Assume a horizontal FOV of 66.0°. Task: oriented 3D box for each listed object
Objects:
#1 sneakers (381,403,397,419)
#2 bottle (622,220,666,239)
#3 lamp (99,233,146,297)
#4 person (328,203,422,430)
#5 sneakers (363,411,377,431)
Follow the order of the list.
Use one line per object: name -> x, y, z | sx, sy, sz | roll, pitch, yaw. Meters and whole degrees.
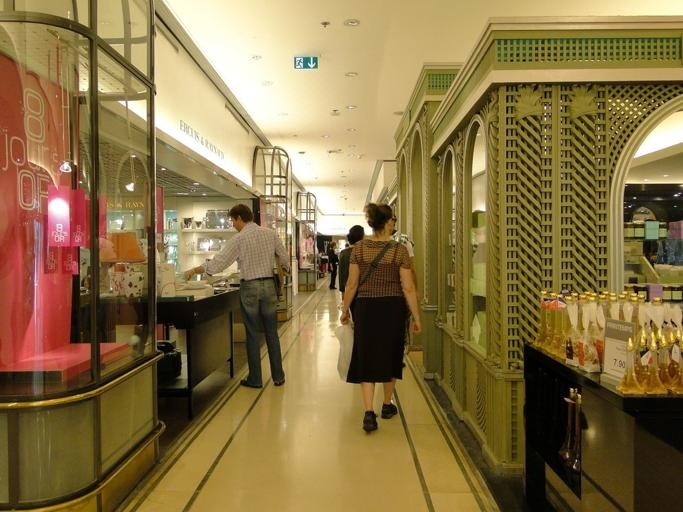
sneakers -> 0.417, 1.381, 4.681 | 0.077, 0.112, 0.177 | 0, 4, 14
bottle -> 2.224, -0.190, 3.815 | 0.430, 0.140, 0.094 | -2, 3, -30
lamp -> -1.466, 0.062, 3.666 | 0.292, 0.418, 0.299 | -9, 0, 22
person -> 0.336, 0.503, 4.531 | 0.669, 1.915, 0.521 | 0, 3, 11
sneakers -> 0.228, 1.374, 4.330 | 0.076, 0.096, 0.190 | 0, -3, 8
